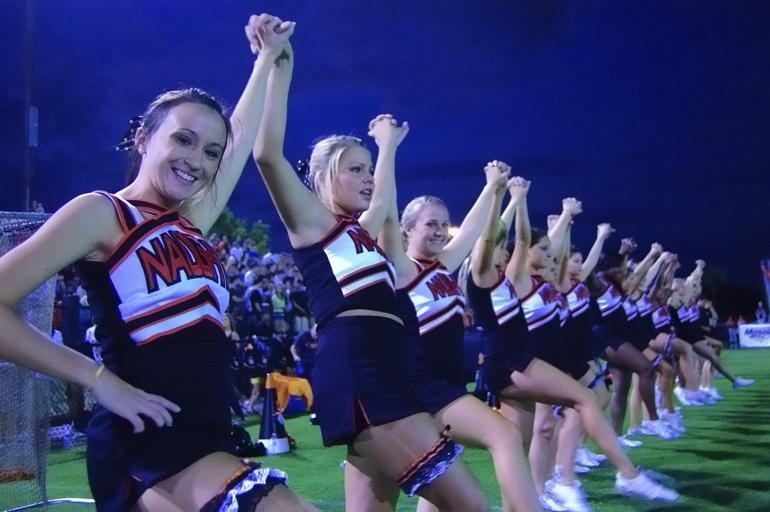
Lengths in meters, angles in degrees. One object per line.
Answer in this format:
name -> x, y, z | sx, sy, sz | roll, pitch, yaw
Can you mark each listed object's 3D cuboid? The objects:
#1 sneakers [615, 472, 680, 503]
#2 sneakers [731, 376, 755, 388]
sneakers -> 2.297, 2.021, 5.451 | 0.521, 0.277, 0.170 | -2, 1, -9
sneakers -> 7.498, 2.664, 13.083 | 0.538, 0.237, 0.192 | -10, 32, 17
